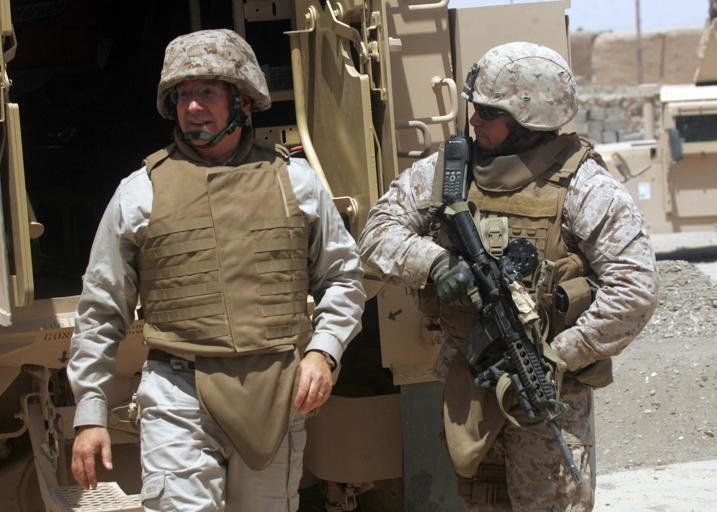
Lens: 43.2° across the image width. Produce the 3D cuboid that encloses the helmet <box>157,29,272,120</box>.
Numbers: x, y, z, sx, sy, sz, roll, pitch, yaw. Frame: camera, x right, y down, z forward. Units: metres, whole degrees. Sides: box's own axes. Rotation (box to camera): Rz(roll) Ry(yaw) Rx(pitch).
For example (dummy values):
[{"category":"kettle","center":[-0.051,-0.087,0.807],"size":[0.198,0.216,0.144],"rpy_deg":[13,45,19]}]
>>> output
[{"category":"helmet","center":[-0.607,-0.816,3.965],"size":[0.375,0.269,0.396],"rpy_deg":[-1,-1,3]}]

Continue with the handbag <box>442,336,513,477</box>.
[{"category":"handbag","center":[0.559,0.705,4.234],"size":[0.147,0.601,0.300],"rpy_deg":[13,-29,-38]}]

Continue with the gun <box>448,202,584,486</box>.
[{"category":"gun","center":[0.736,0.367,4.079],"size":[0.228,1.179,0.551],"rpy_deg":[-14,-11,-22]}]

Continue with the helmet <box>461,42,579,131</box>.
[{"category":"helmet","center":[0.763,-0.729,4.239],"size":[0.432,0.283,0.433],"rpy_deg":[-7,28,-40]}]
